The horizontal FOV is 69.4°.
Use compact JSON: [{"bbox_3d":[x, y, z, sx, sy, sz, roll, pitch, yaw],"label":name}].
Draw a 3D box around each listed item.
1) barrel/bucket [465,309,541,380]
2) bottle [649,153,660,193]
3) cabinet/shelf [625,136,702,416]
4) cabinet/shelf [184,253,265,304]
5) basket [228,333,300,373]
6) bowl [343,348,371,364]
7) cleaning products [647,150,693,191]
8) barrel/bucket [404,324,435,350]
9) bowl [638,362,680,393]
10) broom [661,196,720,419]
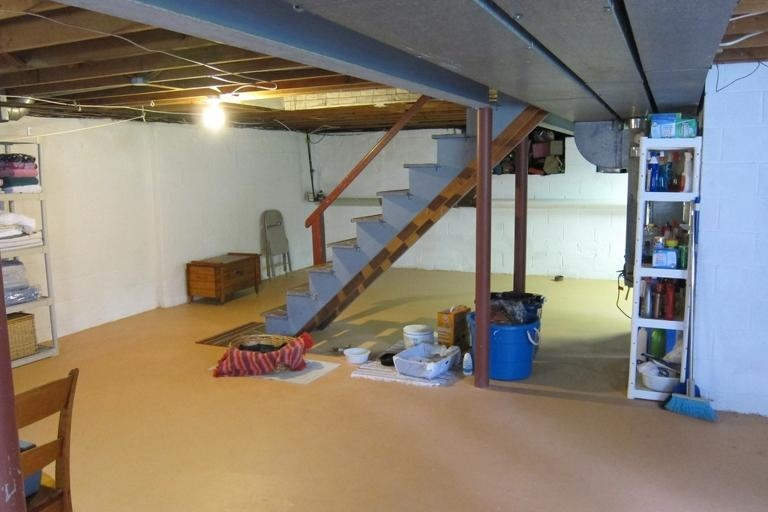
[{"bbox_3d":[1.357,1.084,6.209,0.728,0.490,0.709,-1,-14,0],"label":"barrel/bucket"},{"bbox_3d":[2.587,-0.793,5.325,0.108,0.328,0.097,2,15,11],"label":"bottle"},{"bbox_3d":[2.714,0.087,5.356,0.746,2.350,0.707,1,11,18],"label":"cabinet/shelf"},{"bbox_3d":[-2.664,0.365,9.258,0.695,0.562,1.121,1,7,23],"label":"cabinet/shelf"},{"bbox_3d":[-1.305,1.093,6.216,0.573,0.204,0.427,-3,-1,7],"label":"basket"},{"bbox_3d":[-0.318,1.154,6.466,0.206,0.074,0.185,10,13,8],"label":"bowl"},{"bbox_3d":[2.768,-0.829,5.407,0.226,0.371,0.418,7,13,33],"label":"cleaning products"},{"bbox_3d":[0.423,0.989,6.749,0.350,0.244,0.391,12,19,43],"label":"barrel/bucket"},{"bbox_3d":[2.678,1.213,5.480,0.275,0.104,0.240,-3,9,-14],"label":"bowl"},{"bbox_3d":[2.961,0.508,5.152,0.435,1.936,0.587,8,17,29],"label":"broom"}]
